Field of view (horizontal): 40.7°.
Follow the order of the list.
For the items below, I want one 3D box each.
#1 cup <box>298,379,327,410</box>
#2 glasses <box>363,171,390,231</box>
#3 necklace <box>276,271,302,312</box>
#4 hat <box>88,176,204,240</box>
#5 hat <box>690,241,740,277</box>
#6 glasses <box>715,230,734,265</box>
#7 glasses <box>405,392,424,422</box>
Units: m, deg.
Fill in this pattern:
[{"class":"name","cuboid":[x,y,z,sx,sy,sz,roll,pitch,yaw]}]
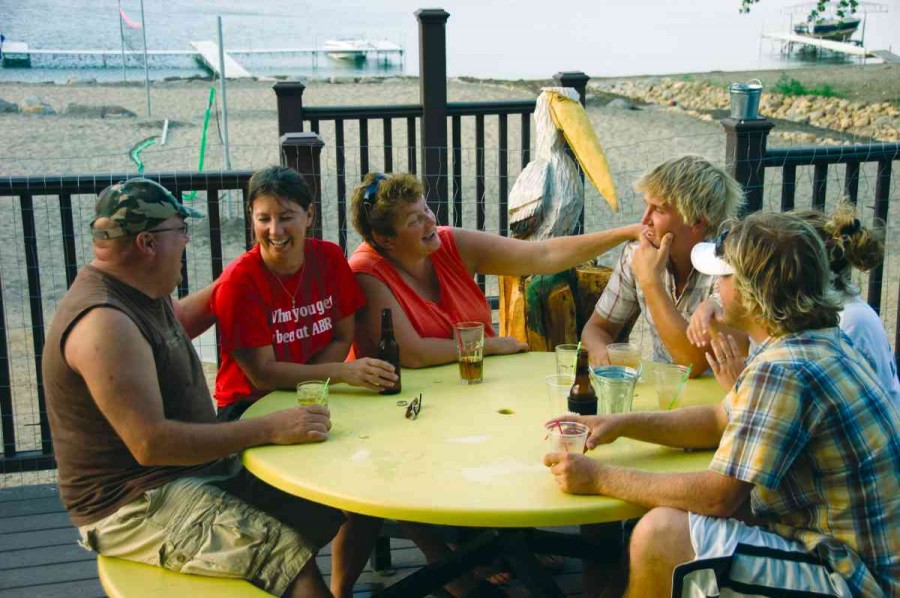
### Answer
[{"class":"cup","cuboid":[-0.821,0.565,7.245,0.158,0.152,0.139,-4,18,-15]},{"class":"glasses","cuboid":[-0.506,-0.635,7.930,0.137,0.298,0.230,11,22,15]},{"class":"necklace","cuboid":[-1.002,-0.042,7.713,0.053,0.204,0.212,-18,-22,-4]},{"class":"hat","cuboid":[-1.851,-0.536,7.188,0.467,0.238,0.321,-14,14,-31]},{"class":"hat","cuboid":[1.504,-0.220,7.002,0.156,0.071,0.214,-14,29,-35]},{"class":"glasses","cuboid":[1.549,-0.302,6.953,0.047,0.147,0.155,8,-11,4]},{"class":"glasses","cuboid":[-0.220,0.659,7.265,0.089,0.136,0.067,-6,-1,-13]}]
